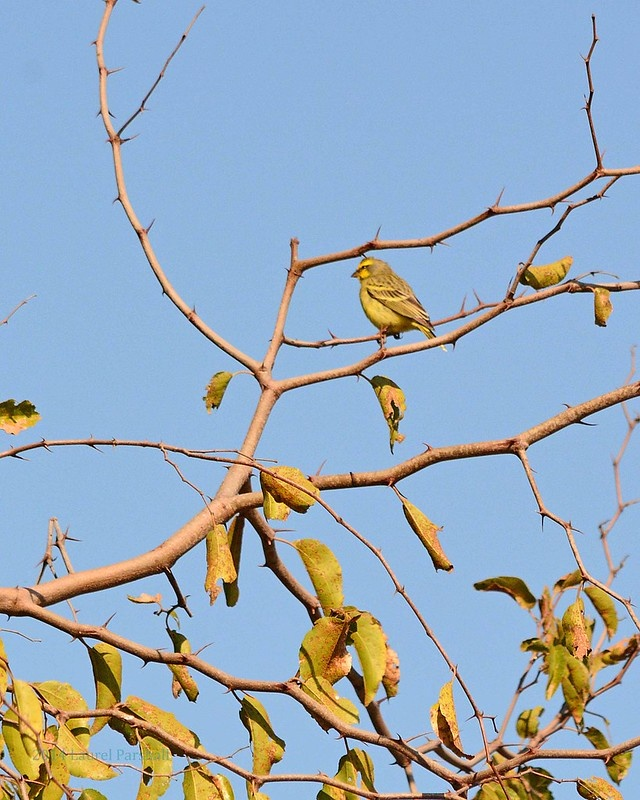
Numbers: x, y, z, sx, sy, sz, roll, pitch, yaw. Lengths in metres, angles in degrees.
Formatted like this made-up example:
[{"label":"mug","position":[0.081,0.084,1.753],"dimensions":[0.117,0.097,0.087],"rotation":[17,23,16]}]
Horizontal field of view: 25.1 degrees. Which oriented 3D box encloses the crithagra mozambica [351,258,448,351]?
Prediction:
[{"label":"crithagra mozambica","position":[0.592,-0.790,11.742],"dimensions":[0.804,0.773,0.421],"rotation":[0,-18,28]}]
